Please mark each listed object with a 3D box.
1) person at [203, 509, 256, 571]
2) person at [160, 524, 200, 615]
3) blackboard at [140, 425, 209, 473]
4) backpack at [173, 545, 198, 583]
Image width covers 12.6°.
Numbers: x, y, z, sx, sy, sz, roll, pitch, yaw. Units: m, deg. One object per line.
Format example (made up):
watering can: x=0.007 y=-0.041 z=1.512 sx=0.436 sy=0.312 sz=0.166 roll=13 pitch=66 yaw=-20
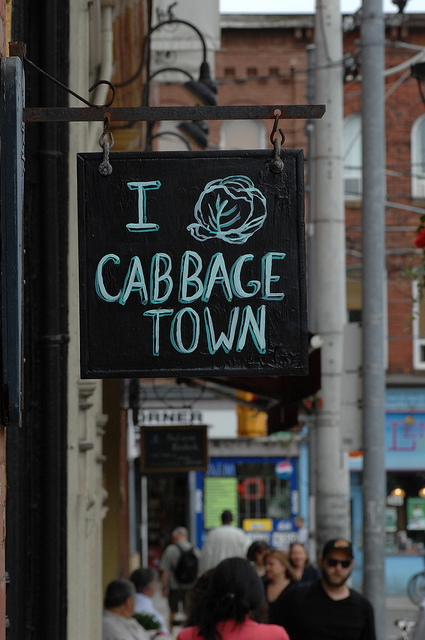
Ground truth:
person: x=0.107 y=1.954 z=16.182 sx=0.349 sy=0.271 sz=0.976 roll=-2 pitch=-52 yaw=-7
person: x=-0.315 y=2.479 z=17.985 sx=0.290 sy=1.146 sz=0.550 roll=7 pitch=15 yaw=8
blackboard: x=-0.445 y=1.436 z=21.373 sx=0.731 sy=0.496 sz=0.296 roll=-2 pitch=-6 yaw=4
backpack: x=-0.257 y=2.268 z=17.585 sx=0.152 sy=0.260 sz=0.401 roll=2 pitch=-8 yaw=-29
